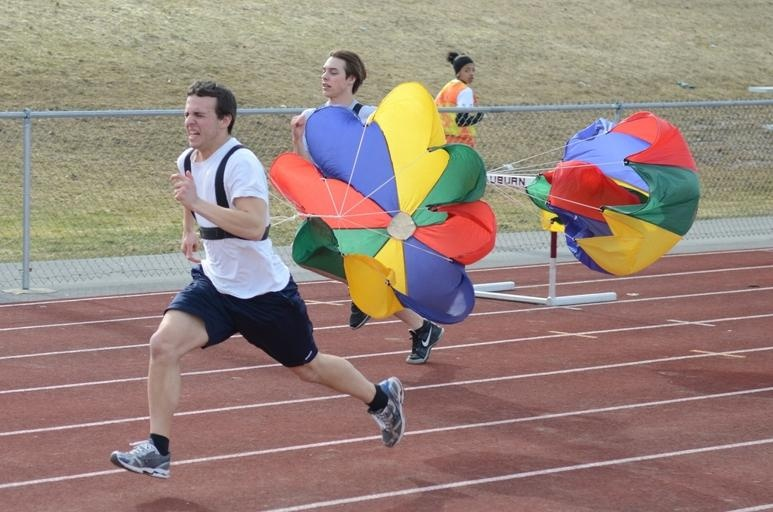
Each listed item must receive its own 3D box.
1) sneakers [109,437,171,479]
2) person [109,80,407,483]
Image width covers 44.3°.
[{"bbox_3d":[-1.570,1.303,6.042,0.168,0.189,0.437,-6,-18,36],"label":"sneakers"},{"bbox_3d":[-0.900,0.167,6.321,1.883,2.594,1.178,-8,24,-14],"label":"person"}]
